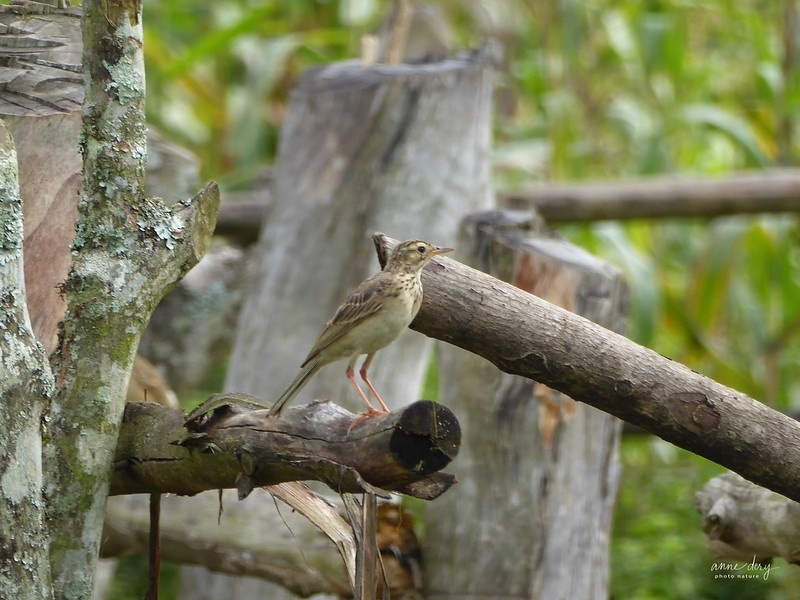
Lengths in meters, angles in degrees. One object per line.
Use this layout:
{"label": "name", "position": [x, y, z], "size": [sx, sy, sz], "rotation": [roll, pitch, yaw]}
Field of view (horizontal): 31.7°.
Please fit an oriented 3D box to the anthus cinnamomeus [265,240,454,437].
{"label": "anthus cinnamomeus", "position": [-0.253, 0.088, 7.496], "size": [0.620, 1.165, 0.646], "rotation": [28, -23, -38]}
